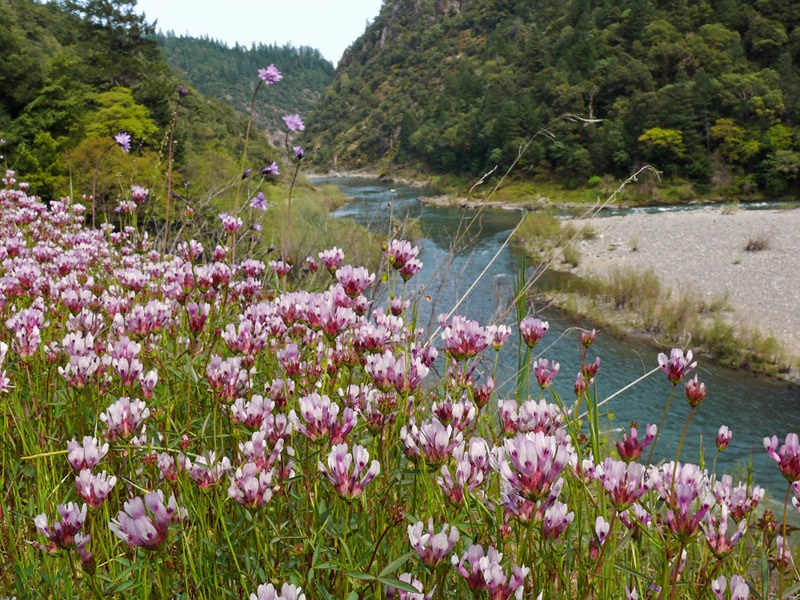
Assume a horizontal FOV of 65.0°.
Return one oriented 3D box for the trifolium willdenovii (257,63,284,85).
[{"bbox_3d":[-0.815,-1.416,3.938,0.164,0.100,0.180,-18,42,-17],"label":"trifolium willdenovii"}]
